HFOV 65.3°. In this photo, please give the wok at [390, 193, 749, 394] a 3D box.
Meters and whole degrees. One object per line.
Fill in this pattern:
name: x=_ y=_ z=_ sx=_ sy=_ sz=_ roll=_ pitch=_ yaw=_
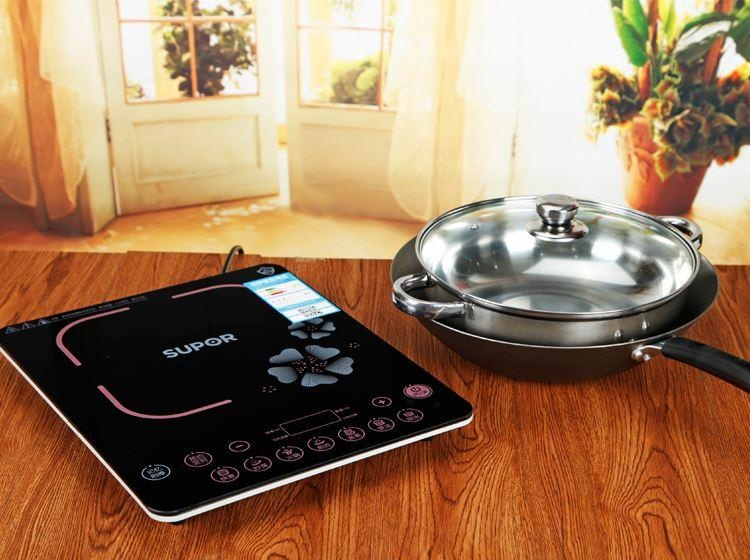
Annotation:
wok: x=0.182 y=-0.004 z=0.648 sx=0.254 sy=0.077 sz=0.305 roll=-13 pitch=26 yaw=-33
